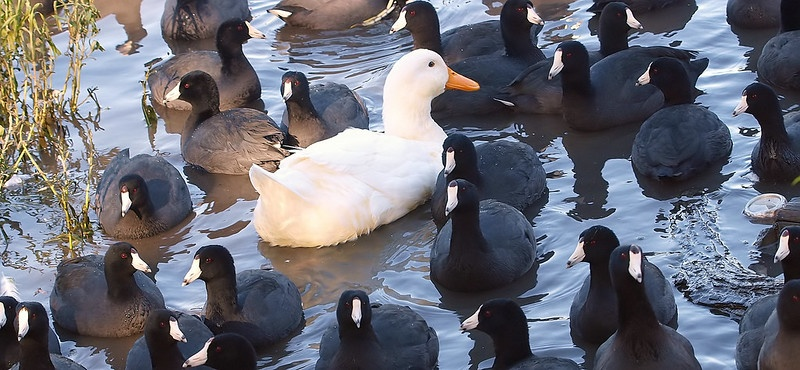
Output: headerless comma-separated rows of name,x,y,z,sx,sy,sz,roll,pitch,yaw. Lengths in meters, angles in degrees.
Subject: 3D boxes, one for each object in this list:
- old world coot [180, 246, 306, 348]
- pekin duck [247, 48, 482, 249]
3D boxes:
old world coot,-3.259,2.190,15.433,2.113,2.102,2.488,0,10,23
pekin duck,-0.688,-1.040,17.629,2.858,3.564,7.094,13,28,36
